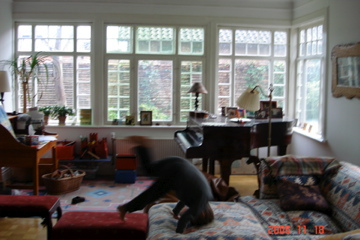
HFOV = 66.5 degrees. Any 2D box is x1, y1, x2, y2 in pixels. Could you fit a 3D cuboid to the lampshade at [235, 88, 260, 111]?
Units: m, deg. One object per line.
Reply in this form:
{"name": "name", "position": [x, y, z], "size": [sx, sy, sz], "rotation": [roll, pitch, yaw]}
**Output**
{"name": "lampshade", "position": [1.085, -0.326, 4.399], "size": [0.336, 0.339, 0.301], "rotation": [8, 7, 5]}

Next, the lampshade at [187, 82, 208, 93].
{"name": "lampshade", "position": [0.394, -0.709, 6.015], "size": [0.345, 0.154, 0.333], "rotation": [1, 2, 6]}

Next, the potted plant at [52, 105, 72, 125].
{"name": "potted plant", "position": [-2.672, -0.097, 6.499], "size": [0.556, 0.519, 0.399], "rotation": [1, -4, -9]}

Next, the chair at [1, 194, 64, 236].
{"name": "chair", "position": [-1.864, 1.319, 3.582], "size": [0.732, 0.309, 0.471], "rotation": [3, 1, -1]}

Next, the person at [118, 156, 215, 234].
{"name": "person", "position": [-0.171, 0.831, 3.136], "size": [1.081, 0.590, 0.671], "rotation": [2, -6, 10]}

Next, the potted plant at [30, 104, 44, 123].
{"name": "potted plant", "position": [-2.898, -0.114, 5.551], "size": [0.230, 0.295, 0.488], "rotation": [-5, 8, -28]}
